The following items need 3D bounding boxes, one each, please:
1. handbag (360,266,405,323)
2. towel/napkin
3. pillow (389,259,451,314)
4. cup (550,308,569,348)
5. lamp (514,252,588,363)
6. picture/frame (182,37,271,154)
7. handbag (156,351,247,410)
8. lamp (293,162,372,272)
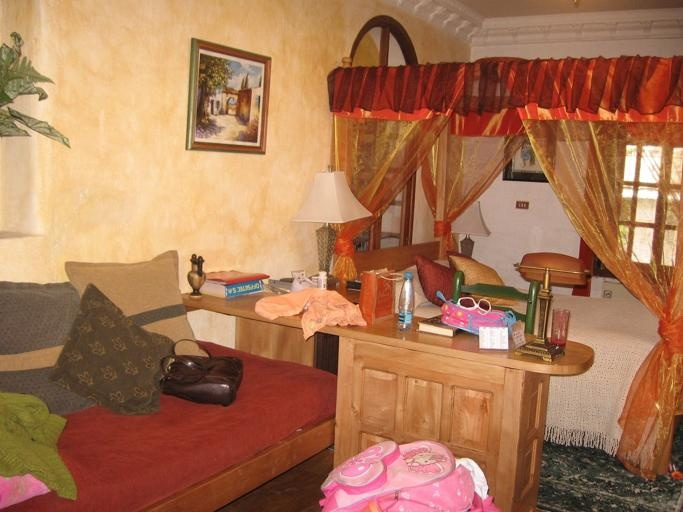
[{"bbox_3d":[0.234,0.230,3.086,0.105,0.248,0.258,11,12,35],"label":"handbag"},{"bbox_3d":[-0.169,0.305,3.135,0.437,0.080,0.363,13,24,28],"label":"towel/napkin"},{"bbox_3d":[0.651,0.259,4.245,0.132,0.470,0.497,-5,-25,43],"label":"pillow"},{"bbox_3d":[1.106,0.364,2.728,0.084,0.194,0.337,5,7,22],"label":"cup"},{"bbox_3d":[1.348,0.318,3.440,0.526,0.711,0.435,11,15,40],"label":"lamp"},{"bbox_3d":[-0.833,-1.142,3.775,0.061,0.890,0.938,7,4,33],"label":"picture/frame"},{"bbox_3d":[-0.715,0.622,2.764,0.275,0.103,0.283,7,10,13],"label":"handbag"},{"bbox_3d":[-0.065,-0.376,4.054,0.429,0.609,0.438,6,17,18],"label":"lamp"}]
